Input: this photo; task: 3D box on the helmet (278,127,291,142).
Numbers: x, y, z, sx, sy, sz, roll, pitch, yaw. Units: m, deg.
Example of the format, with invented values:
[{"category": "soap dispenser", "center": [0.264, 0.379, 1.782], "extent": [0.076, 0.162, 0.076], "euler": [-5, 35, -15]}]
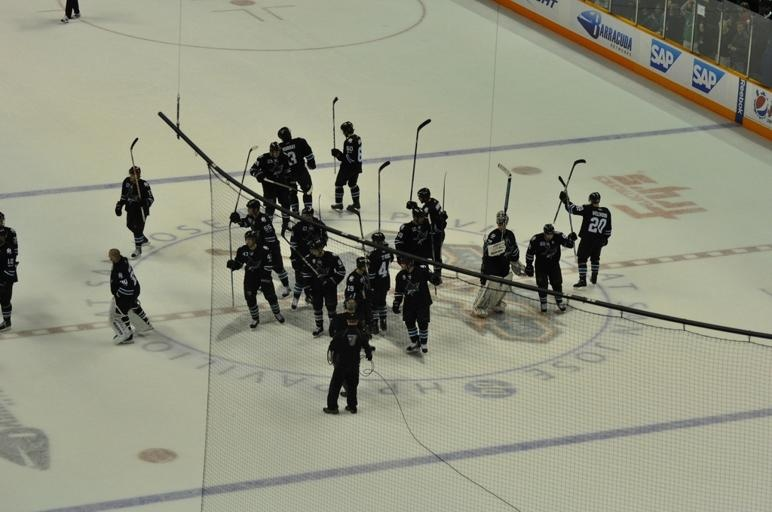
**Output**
[{"category": "helmet", "center": [-2.241, -2.682, 21.681], "extent": [0.332, 0.362, 0.365], "euler": [2, 28, 4]}]

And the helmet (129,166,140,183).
[{"category": "helmet", "center": [-5.160, -1.707, 20.306], "extent": [0.182, 0.340, 0.305], "euler": [-2, 18, -18]}]

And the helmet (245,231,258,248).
[{"category": "helmet", "center": [-2.456, -0.316, 18.153], "extent": [0.225, 0.263, 0.282], "euler": [1, 2, 0]}]

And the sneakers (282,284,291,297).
[{"category": "sneakers", "center": [-1.982, 0.677, 19.612], "extent": [0.179, 0.190, 0.346], "euler": [2, 17, -7]}]

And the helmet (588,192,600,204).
[{"category": "helmet", "center": [4.156, -1.162, 19.649], "extent": [0.143, 0.207, 0.280], "euler": [12, 19, 26]}]

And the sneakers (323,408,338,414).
[{"category": "sneakers", "center": [-0.927, 2.609, 16.640], "extent": [0.205, 0.095, 0.097], "euler": [9, 15, 0]}]

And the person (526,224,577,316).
[{"category": "person", "center": [3.137, 0.187, 19.014], "extent": [0.875, 1.645, 0.859], "euler": [7, 17, 10]}]

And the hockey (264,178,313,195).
[{"category": "hockey", "center": [-2.168, -1.550, 21.588], "extent": [1.417, 0.232, 0.295], "euler": [2, 15, -21]}]

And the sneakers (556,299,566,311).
[{"category": "sneakers", "center": [3.406, 0.932, 18.966], "extent": [0.220, 0.207, 0.168], "euler": [-9, 21, -35]}]

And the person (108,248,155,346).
[{"category": "person", "center": [-4.765, 0.833, 18.502], "extent": [0.866, 1.838, 0.764], "euler": [-1, 45, -12]}]

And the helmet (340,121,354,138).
[{"category": "helmet", "center": [-0.831, -2.841, 21.827], "extent": [0.347, 0.369, 0.372], "euler": [3, 31, 2]}]

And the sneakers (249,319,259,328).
[{"category": "sneakers", "center": [-2.460, 1.261, 18.532], "extent": [0.181, 0.135, 0.225], "euler": [1, 17, -7]}]

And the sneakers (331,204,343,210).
[{"category": "sneakers", "center": [-1.101, -1.150, 22.448], "extent": [0.255, 0.132, 0.094], "euler": [20, 28, 36]}]

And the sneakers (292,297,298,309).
[{"category": "sneakers", "center": [-1.744, 0.903, 18.989], "extent": [0.096, 0.256, 0.096], "euler": [5, -10, -8]}]

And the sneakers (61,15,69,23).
[{"category": "sneakers", "center": [-9.734, -7.231, 30.058], "extent": [0.155, 0.151, 0.344], "euler": [0, 4, -13]}]

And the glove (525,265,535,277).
[{"category": "glove", "center": [2.739, 0.284, 18.894], "extent": [0.166, 0.200, 0.210], "euler": [-5, -11, 9]}]

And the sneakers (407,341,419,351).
[{"category": "sneakers", "center": [0.483, 1.620, 18.023], "extent": [0.218, 0.154, 0.126], "euler": [-18, 33, -16]}]

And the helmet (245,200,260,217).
[{"category": "helmet", "center": [-2.556, -0.986, 19.402], "extent": [0.320, 0.308, 0.271], "euler": [10, 26, 2]}]

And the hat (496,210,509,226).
[{"category": "hat", "center": [2.242, -0.744, 18.872], "extent": [0.287, 0.316, 0.330], "euler": [0, 0, -1]}]

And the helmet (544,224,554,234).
[{"category": "helmet", "center": [3.106, -0.525, 18.802], "extent": [0.178, 0.165, 0.179], "euler": [5, 17, 5]}]

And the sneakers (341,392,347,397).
[{"category": "sneakers", "center": [-0.721, 2.372, 16.993], "extent": [0.116, 0.102, 0.105], "euler": [-1, -11, 6]}]

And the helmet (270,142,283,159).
[{"category": "helmet", "center": [-2.367, -2.303, 21.242], "extent": [0.210, 0.305, 0.406], "euler": [3, 17, -3]}]

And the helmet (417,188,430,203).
[{"category": "helmet", "center": [0.792, -1.245, 20.016], "extent": [0.237, 0.323, 0.583], "euler": [4, 17, 2]}]
